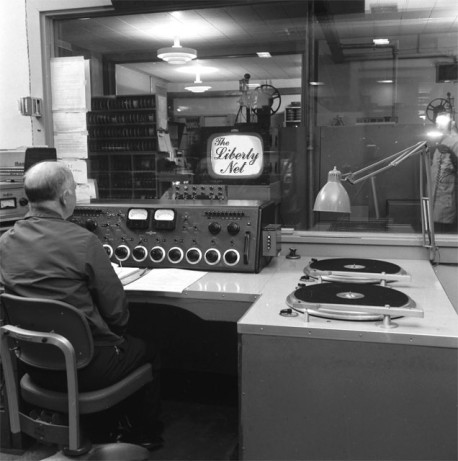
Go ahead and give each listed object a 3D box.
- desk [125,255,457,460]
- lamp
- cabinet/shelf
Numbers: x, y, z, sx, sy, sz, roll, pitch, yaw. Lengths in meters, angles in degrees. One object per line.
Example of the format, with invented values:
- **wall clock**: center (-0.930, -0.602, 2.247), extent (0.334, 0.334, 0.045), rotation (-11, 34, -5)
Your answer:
- **desk**: center (0.362, 0.461, 1.871), extent (0.714, 0.499, 0.746), rotation (0, 4, 7)
- **lamp**: center (0.694, -0.138, 2.618), extent (0.499, 0.660, 0.875), rotation (14, 17, 43)
- **cabinet/shelf**: center (-0.689, -0.535, 3.334), extent (0.434, 0.763, 0.218), rotation (-4, 36, -15)
